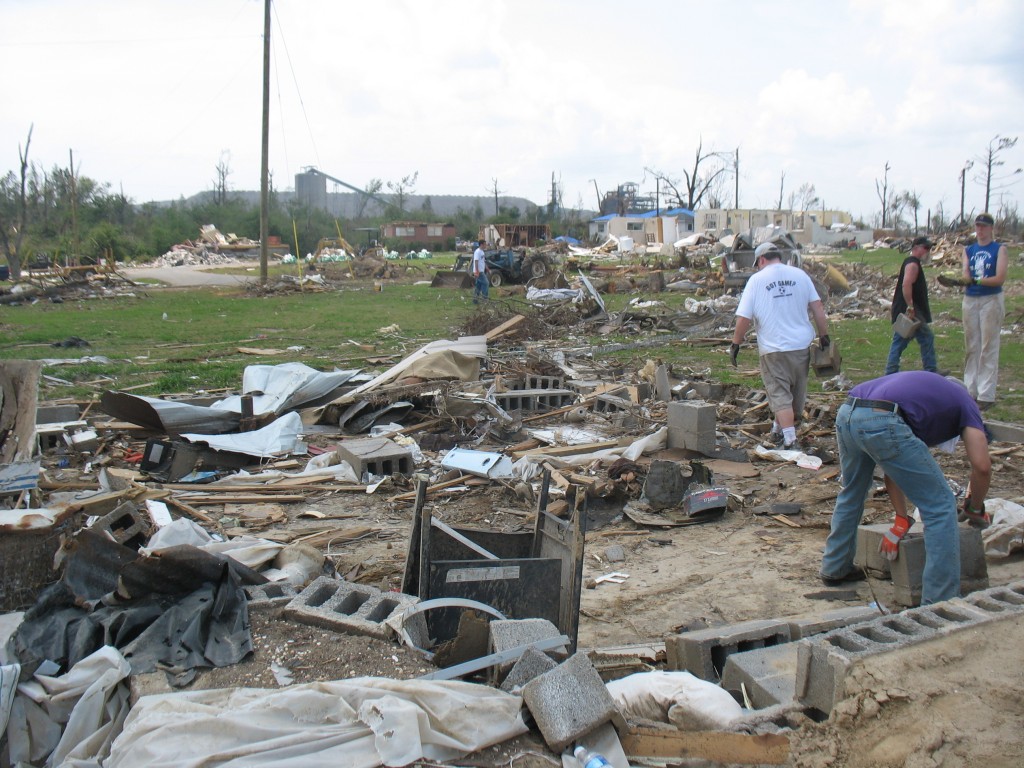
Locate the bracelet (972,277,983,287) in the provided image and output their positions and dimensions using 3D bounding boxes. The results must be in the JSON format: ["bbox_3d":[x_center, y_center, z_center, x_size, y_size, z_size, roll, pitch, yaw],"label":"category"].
[{"bbox_3d":[5.513,-1.198,10.824,0.091,0.076,0.088,1,0,-10],"label":"bracelet"}]

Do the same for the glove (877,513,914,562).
[{"bbox_3d":[2.615,1.062,6.243,0.113,0.335,0.242,15,32,-18],"label":"glove"}]

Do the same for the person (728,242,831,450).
[{"bbox_3d":[2.779,-0.393,9.460,0.994,2.097,0.632,2,5,-1],"label":"person"}]

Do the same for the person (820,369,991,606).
[{"bbox_3d":[2.599,0.714,6.145,0.630,1.591,1.002,-2,6,-37],"label":"person"}]

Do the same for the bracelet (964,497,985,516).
[{"bbox_3d":[3.124,0.825,6.149,0.124,0.083,0.151,0,12,7],"label":"bracelet"}]

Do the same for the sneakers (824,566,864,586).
[{"bbox_3d":[2.435,1.429,6.728,0.314,0.116,0.119,-10,14,-11],"label":"sneakers"}]

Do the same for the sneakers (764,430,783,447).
[{"bbox_3d":[2.775,0.594,9.694,0.181,0.084,0.236,0,5,14],"label":"sneakers"}]
